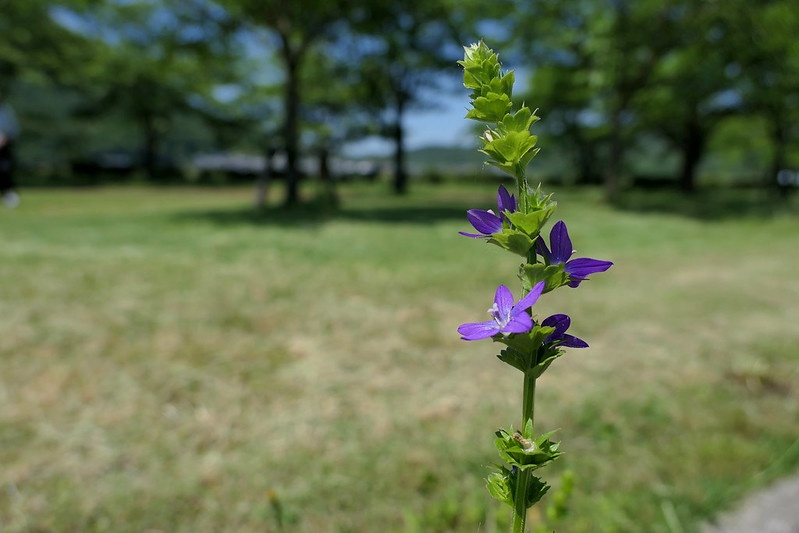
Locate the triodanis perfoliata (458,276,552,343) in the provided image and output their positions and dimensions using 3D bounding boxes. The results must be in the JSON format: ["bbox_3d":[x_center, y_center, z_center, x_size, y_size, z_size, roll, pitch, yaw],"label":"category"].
[{"bbox_3d":[0.452,0.248,2.958,0.389,0.204,0.371,-34,17,-34],"label":"triodanis perfoliata"}]

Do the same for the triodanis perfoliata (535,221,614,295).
[{"bbox_3d":[0.779,-0.052,3.033,0.320,0.298,0.212,2,16,9],"label":"triodanis perfoliata"}]

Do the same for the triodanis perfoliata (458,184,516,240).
[{"bbox_3d":[0.407,-0.239,3.023,0.231,0.248,0.185,3,16,10],"label":"triodanis perfoliata"}]
